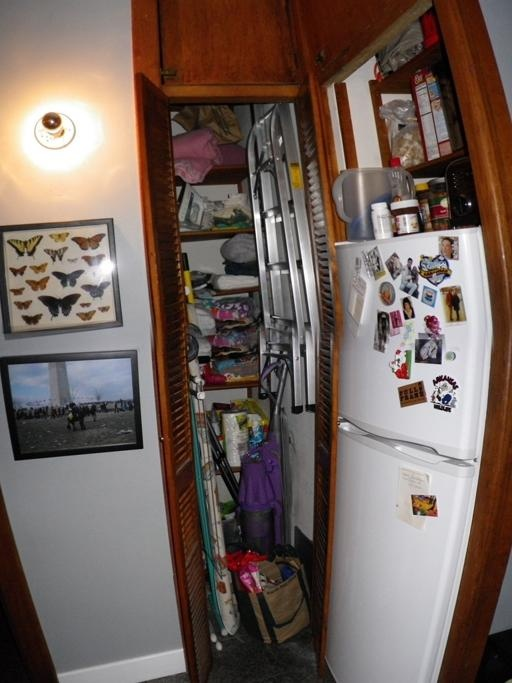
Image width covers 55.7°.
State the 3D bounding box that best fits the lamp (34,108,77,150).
[{"bbox_3d":[-0.676,-0.704,1.632,0.116,0.124,0.038,16,13,-12],"label":"lamp"}]

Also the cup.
[{"bbox_3d":[0.403,-0.459,1.587,0.246,0.266,0.149,-5,11,-7],"label":"cup"}]

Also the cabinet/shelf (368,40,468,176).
[{"bbox_3d":[0.498,-0.691,1.461,0.163,0.359,0.432,-6,7,-5],"label":"cabinet/shelf"}]

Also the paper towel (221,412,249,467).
[{"bbox_3d":[-0.112,0.531,2.722,0.134,0.306,0.148,-4,-5,-10],"label":"paper towel"}]

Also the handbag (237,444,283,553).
[{"bbox_3d":[0.025,0.807,2.486,0.230,0.548,0.112,-6,7,-1],"label":"handbag"}]

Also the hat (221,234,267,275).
[{"bbox_3d":[-0.082,-0.481,2.700,0.212,0.231,0.081,4,16,14],"label":"hat"}]

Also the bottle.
[{"bbox_3d":[0.453,-0.382,1.392,0.231,0.253,0.141,6,16,30],"label":"bottle"}]

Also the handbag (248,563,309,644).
[{"bbox_3d":[0.109,1.172,2.215,0.253,0.288,0.292,-5,7,5],"label":"handbag"}]

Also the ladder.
[{"bbox_3d":[0.109,-0.346,2.158,0.203,1.348,0.706,-6,7,-6],"label":"ladder"}]
